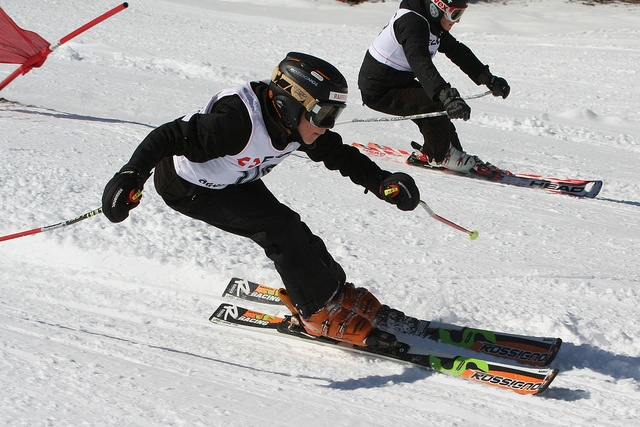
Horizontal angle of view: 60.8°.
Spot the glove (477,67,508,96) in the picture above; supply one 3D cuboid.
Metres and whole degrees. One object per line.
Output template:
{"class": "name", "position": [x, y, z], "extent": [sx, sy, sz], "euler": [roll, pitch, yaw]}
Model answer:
{"class": "glove", "position": [2.234, -1.640, 7.088], "extent": [0.500, 0.353, 0.155], "euler": [29, 97, 6]}
